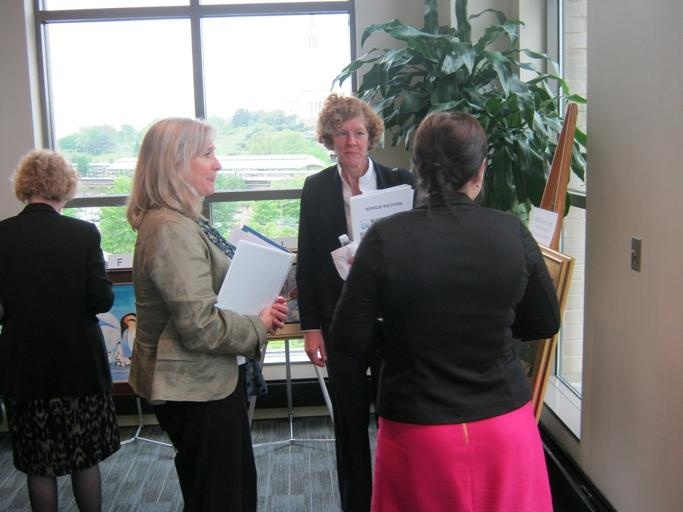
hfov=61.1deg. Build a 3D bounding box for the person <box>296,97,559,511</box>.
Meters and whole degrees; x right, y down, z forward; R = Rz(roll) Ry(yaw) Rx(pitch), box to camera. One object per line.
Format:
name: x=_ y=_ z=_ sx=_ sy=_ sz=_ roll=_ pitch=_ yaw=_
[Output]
person: x=0.256 y=0.284 z=2.683 sx=0.855 sy=2.125 sz=1.406 roll=-3 pitch=10 yaw=-19
